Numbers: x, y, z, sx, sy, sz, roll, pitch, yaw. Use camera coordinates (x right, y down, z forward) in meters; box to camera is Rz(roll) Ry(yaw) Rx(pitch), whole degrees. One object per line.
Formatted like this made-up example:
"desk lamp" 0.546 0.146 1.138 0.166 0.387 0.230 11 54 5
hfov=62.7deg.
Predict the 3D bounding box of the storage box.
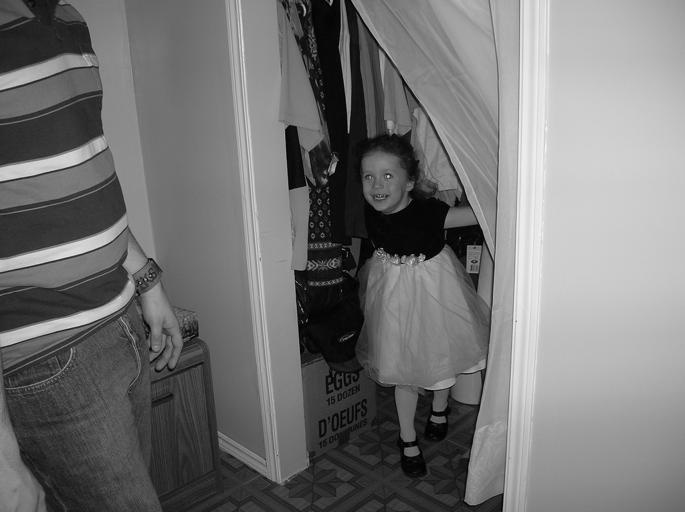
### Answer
"storage box" -0.025 0.552 2.126 0.195 0.389 0.373 -5 3 39

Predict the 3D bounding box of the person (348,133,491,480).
"person" 0.305 0.133 2.103 0.525 1.125 0.489 -16 24 -29

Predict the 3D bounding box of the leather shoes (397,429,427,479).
"leather shoes" 0.259 0.715 2.012 0.053 0.064 0.157 -4 19 -3

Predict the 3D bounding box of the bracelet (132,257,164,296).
"bracelet" -0.412 0.040 1.218 0.053 0.066 0.072 -25 4 19
